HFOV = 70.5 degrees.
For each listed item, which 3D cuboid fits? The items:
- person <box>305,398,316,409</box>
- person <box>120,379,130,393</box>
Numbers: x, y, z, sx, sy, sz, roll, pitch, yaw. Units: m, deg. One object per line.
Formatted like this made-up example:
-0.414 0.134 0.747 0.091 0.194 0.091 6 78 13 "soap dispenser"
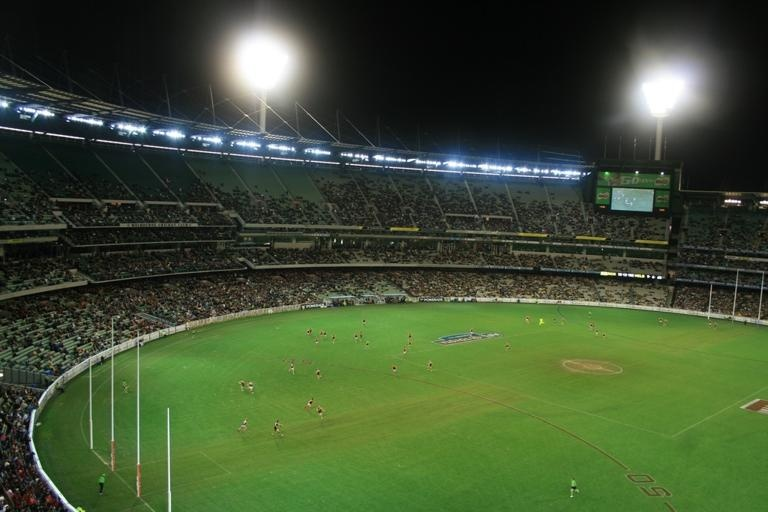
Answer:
-6.850 13.851 51.148 0.501 0.673 1.281 2 0 -22 "person"
-25.045 12.654 52.757 0.708 1.270 0.776 -7 21 -42 "person"
